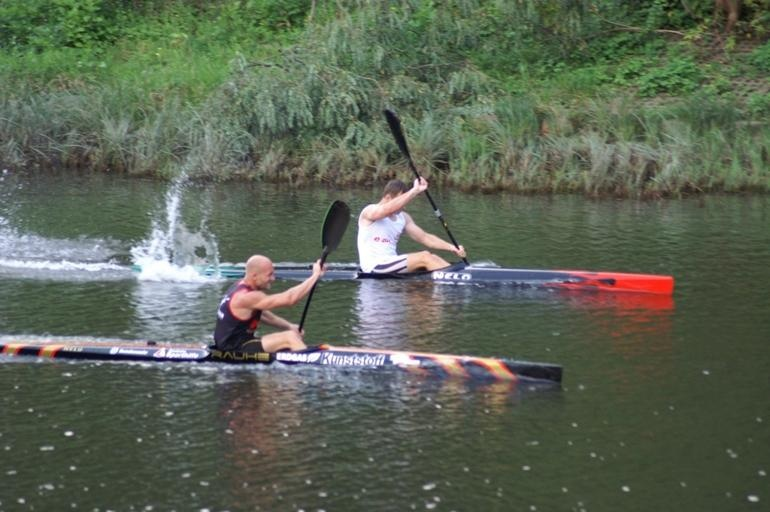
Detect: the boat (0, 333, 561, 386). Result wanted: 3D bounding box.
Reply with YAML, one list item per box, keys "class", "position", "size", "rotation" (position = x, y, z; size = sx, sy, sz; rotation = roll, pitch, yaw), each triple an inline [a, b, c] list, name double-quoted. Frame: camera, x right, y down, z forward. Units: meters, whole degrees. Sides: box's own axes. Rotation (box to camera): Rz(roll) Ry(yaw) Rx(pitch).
- class: "boat"
  position: [-1.497, 1.388, 11.771]
  size: [7.101, 0.306, 0.609]
  rotation: [1, -6, 2]

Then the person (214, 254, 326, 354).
- class: "person"
  position: [-1.399, 0.750, 11.917]
  size: [1.895, 1.092, 0.918]
  rotation: [3, 12, 7]

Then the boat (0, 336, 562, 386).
- class: "boat"
  position: [-1.505, 1.401, 11.745]
  size: [6.848, 0.297, 0.579]
  rotation: [1, -6, 2]
